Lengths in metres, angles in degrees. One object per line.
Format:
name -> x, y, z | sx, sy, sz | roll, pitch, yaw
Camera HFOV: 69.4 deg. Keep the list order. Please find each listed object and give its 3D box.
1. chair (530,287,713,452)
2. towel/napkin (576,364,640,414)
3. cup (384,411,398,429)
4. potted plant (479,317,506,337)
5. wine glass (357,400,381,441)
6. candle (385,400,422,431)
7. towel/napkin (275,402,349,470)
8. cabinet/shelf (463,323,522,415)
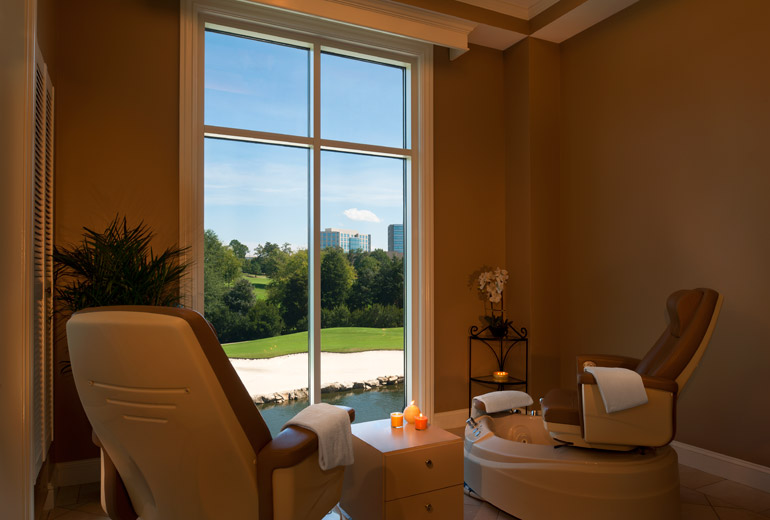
chair -> 1.715, 0.732, 4.192 | 1.138, 1.276, 1.028 | 0, -5, 12
towel/napkin -> 1.466, 0.836, 3.648 | 0.355, 0.256, 0.139 | -4, 2, 23
cup -> 0.043, 1.121, 3.953 | 0.085, 0.095, 0.079 | 0, -1, 0
potted plant -> 1.063, 0.654, 5.512 | 0.185, 0.170, 0.200 | -1, -5, 1
wine glass -> -0.110, 1.092, 3.840 | 0.169, 0.236, 0.189 | 0, -7, -1
candle -> 0.121, 1.092, 3.963 | 0.158, 0.142, 0.228 | 0, -3, -5
towel/napkin -> -0.414, 0.965, 3.280 | 0.332, 0.346, 0.342 | -4, -3, 38
cabinet/shelf -> 1.050, 1.043, 5.482 | 0.538, 0.811, 0.432 | -6, 3, -28
